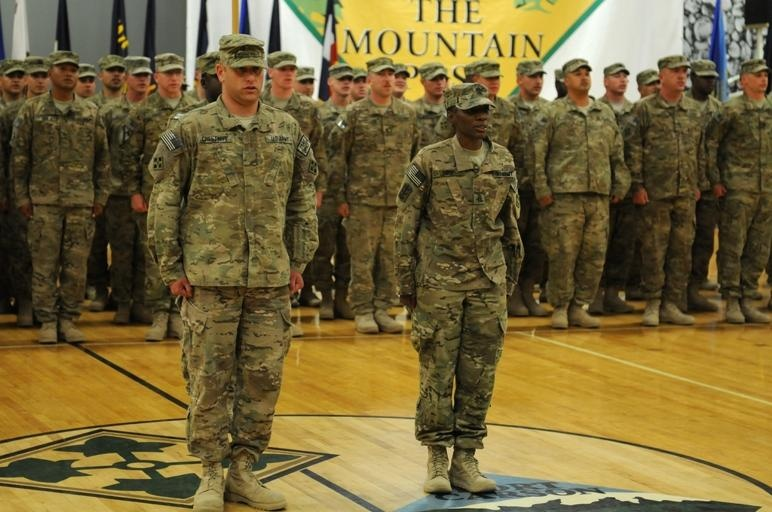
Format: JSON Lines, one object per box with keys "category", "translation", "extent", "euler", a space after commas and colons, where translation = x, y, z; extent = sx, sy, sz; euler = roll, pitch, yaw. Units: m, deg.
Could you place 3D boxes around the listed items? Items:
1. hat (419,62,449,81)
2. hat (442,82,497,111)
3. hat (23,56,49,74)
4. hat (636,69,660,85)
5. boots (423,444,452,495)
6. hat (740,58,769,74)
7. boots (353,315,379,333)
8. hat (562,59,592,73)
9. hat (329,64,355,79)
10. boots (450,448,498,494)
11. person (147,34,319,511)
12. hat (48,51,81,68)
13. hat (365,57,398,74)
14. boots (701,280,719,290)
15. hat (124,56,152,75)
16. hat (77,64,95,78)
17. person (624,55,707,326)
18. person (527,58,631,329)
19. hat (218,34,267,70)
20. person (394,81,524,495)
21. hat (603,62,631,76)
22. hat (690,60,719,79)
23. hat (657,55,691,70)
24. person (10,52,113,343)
{"category": "hat", "translation": [0.483, -2.060, 9.214], "extent": [0.233, 0.089, 0.292], "euler": [-5, 5, -22]}
{"category": "hat", "translation": [0.495, -0.963, 5.002], "extent": [0.195, 0.076, 0.249], "euler": [-3, 5, -27]}
{"category": "hat", "translation": [-3.583, -1.953, 8.440], "extent": [0.223, 0.125, 0.282], "euler": [-3, 2, -37]}
{"category": "hat", "translation": [3.188, -2.198, 10.130], "extent": [0.230, 0.093, 0.301], "euler": [-7, 6, -12]}
{"category": "boots", "translation": [0.316, 1.297, 5.044], "extent": [0.166, 0.255, 0.225], "euler": [2, 12, 3]}
{"category": "hat", "translation": [4.013, -2.070, 9.029], "extent": [0.209, 0.075, 0.256], "euler": [-2, 6, -28]}
{"category": "boots", "translation": [-0.198, 0.697, 8.673], "extent": [0.254, 0.172, 0.271], "euler": [-2, 11, -14]}
{"category": "hat", "translation": [1.997, -1.998, 8.692], "extent": [0.229, 0.167, 0.322], "euler": [1, 11, -1]}
{"category": "hat", "translation": [-0.568, -2.121, 9.483], "extent": [0.229, 0.112, 0.273], "euler": [-4, 5, -39]}
{"category": "boots", "translation": [0.531, 1.303, 5.047], "extent": [0.174, 0.217, 0.420], "euler": [2, 0, -33]}
{"category": "person", "translation": [-0.853, 0.084, 4.832], "extent": [0.970, 2.708, 0.768], "euler": [-4, 14, -23]}
{"category": "hat", "translation": [-3.065, -1.864, 7.831], "extent": [0.238, 0.138, 0.207], "euler": [-2, 11, -14]}
{"category": "hat", "translation": [-0.073, -2.006, 8.583], "extent": [0.260, 0.093, 0.318], "euler": [-1, 3, -19]}
{"category": "boots", "translation": [4.271, 0.378, 10.937], "extent": [0.219, 0.068, 0.139], "euler": [6, 15, 13]}
{"category": "hat", "translation": [-2.586, -1.999, 8.579], "extent": [0.280, 0.114, 0.385], "euler": [-2, 8, -26]}
{"category": "hat", "translation": [-3.548, -2.184, 9.775], "extent": [0.243, 0.123, 0.288], "euler": [-1, -4, -26]}
{"category": "person", "translation": [3.041, -0.712, 9.077], "extent": [0.892, 2.907, 0.709], "euler": [3, 13, 8]}
{"category": "person", "translation": [2.046, -0.647, 8.816], "extent": [1.010, 2.832, 0.619], "euler": [2, 13, 1]}
{"category": "hat", "translation": [-0.841, -1.190, 4.821], "extent": [0.259, 0.201, 0.276], "euler": [0, 11, -8]}
{"category": "person", "translation": [0.411, 0.176, 5.086], "extent": [0.752, 2.427, 0.666], "euler": [4, 13, 12]}
{"category": "hat", "translation": [2.621, -2.193, 9.635], "extent": [0.282, 0.107, 0.380], "euler": [0, 0, -23]}
{"category": "hat", "translation": [3.755, -2.248, 9.823], "extent": [0.319, 0.153, 0.349], "euler": [1, 5, -10]}
{"category": "hat", "translation": [3.072, -2.079, 8.920], "extent": [0.220, 0.071, 0.265], "euler": [-4, 5, -40]}
{"category": "person", "translation": [-3.123, -0.558, 7.966], "extent": [0.881, 2.755, 0.645], "euler": [-3, 13, -20]}
